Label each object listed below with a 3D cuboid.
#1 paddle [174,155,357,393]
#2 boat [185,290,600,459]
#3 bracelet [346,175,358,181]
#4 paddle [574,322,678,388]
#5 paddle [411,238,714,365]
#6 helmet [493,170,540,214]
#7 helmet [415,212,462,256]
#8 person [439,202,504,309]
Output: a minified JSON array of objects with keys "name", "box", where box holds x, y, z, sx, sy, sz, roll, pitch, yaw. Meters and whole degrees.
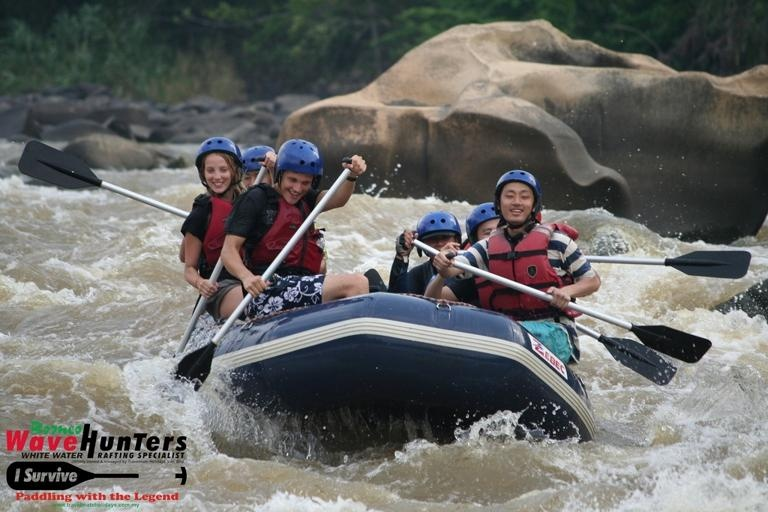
[{"name":"paddle","box":[-1.346,0.245,12.974,0.515,3.514,0.371,38,-2,0]},{"name":"boat","box":[-0.180,1.174,14.185,3.508,1.268,4.331,10,-4,-26]},{"name":"bracelet","box":[-0.347,-0.913,13.123,0.075,0.049,0.074,4,7,-14]},{"name":"paddle","box":[2.855,1.182,13.614,1.146,0.160,0.285,33,74,12]},{"name":"paddle","box":[2.037,0.563,13.458,3.362,0.210,0.479,22,70,7]},{"name":"helmet","box":[1.508,-0.754,13.315,0.449,0.589,0.553,-1,23,11]},{"name":"helmet","box":[0.668,-0.275,13.873,0.497,0.550,0.586,0,-13,-13]},{"name":"person","box":[1.139,-0.009,13.861,0.834,1.095,1.077,1,59,-2]}]
